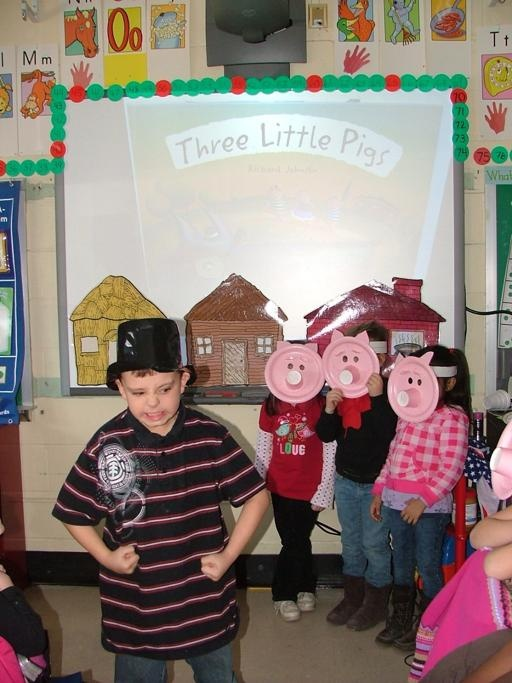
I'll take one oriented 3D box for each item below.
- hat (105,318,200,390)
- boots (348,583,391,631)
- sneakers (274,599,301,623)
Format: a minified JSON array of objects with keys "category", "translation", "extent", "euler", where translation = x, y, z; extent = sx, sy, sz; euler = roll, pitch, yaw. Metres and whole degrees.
[{"category":"hat","translation":[-0.244,0.002,1.426],"extent":[0.229,0.130,0.216],"euler":[5,11,23]},{"category":"boots","translation":[0.443,1.020,2.370],"extent":[0.257,0.173,0.093],"euler":[5,-8,-44]},{"category":"sneakers","translation":[0.129,1.064,2.401],"extent":[0.043,0.047,0.114],"euler":[2,-9,-20]}]
